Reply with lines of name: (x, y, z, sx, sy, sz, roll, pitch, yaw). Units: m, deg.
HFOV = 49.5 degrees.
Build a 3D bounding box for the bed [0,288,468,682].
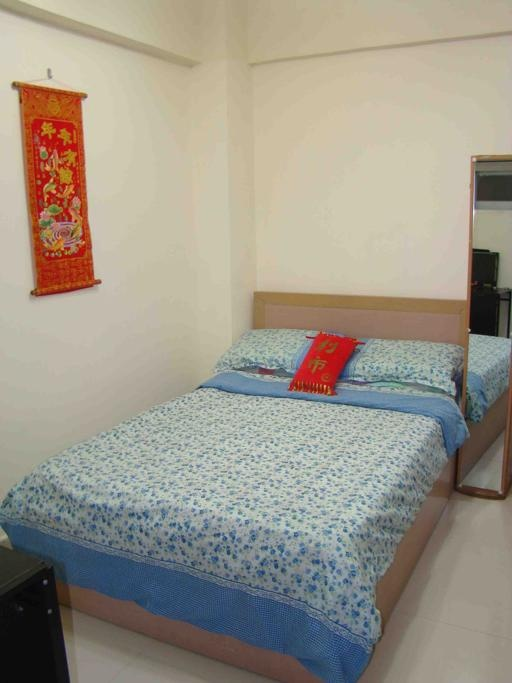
bed: (0.276, 0.462, 2.568, 1.243, 0.965, 1.823, 9, 20, 26)
